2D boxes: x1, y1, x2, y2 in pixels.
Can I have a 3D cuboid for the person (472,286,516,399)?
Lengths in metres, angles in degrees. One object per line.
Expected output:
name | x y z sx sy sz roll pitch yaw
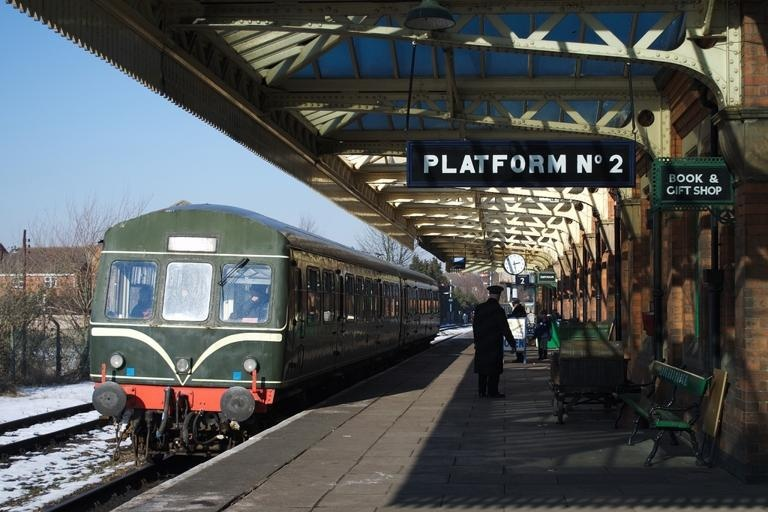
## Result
person | 2.289 1.788 15.120 0.831 2.362 1.515 -1 -2 9

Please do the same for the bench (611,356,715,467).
bench | 4.199 2.325 10.939 0.867 1.160 2.647 -2 -5 9
